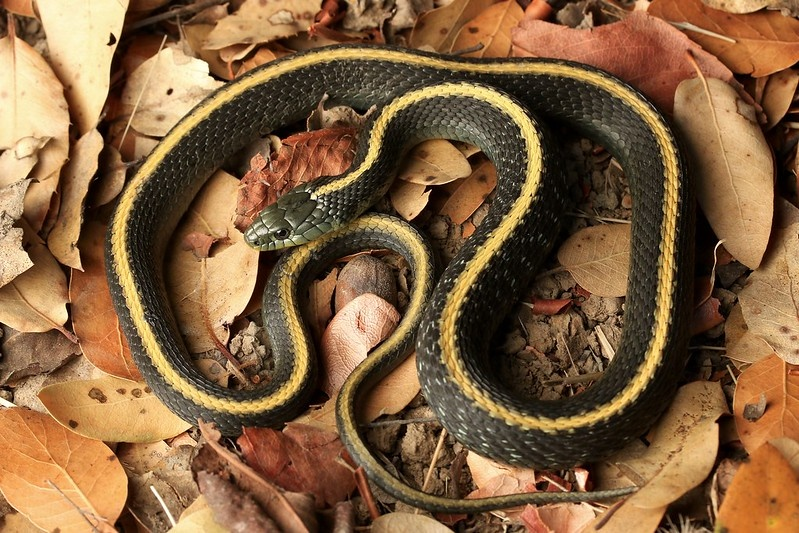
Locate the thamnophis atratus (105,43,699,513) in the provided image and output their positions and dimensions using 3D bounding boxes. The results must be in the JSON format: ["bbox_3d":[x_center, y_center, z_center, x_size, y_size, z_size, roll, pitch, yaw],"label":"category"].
[{"bbox_3d":[0.141,-0.257,6.683,4.603,0.745,3.475,10,78,3],"label":"thamnophis atratus"}]
